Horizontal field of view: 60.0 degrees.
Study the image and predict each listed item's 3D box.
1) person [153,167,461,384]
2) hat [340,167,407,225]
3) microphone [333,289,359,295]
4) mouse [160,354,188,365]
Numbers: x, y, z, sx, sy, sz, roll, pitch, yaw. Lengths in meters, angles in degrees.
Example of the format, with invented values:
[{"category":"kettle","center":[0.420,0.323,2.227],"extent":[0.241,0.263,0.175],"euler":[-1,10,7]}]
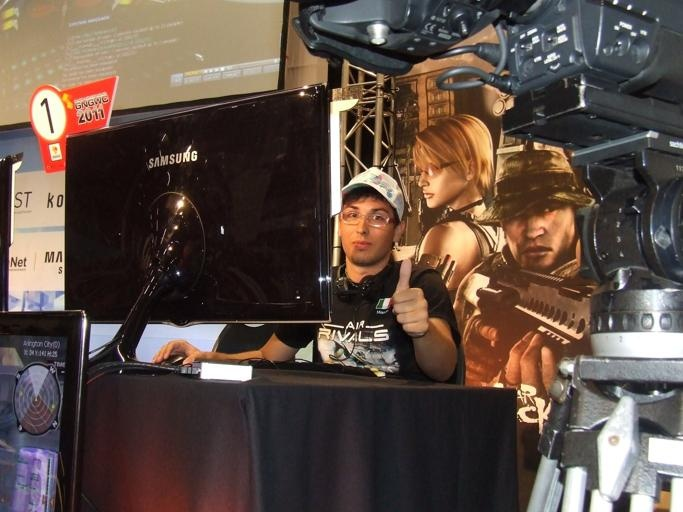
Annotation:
[{"category":"person","center":[-0.007,0.034,2.102],"extent":[0.912,0.610,0.679],"euler":[9,-14,-35]},{"category":"hat","center":[0.176,-0.271,2.433],"extent":[0.262,0.223,0.367],"euler":[12,3,20]},{"category":"microphone","center":[0.019,0.140,2.239],"extent":[0.012,0.027,0.126],"euler":[5,-3,-37]},{"category":"mouse","center":[-0.364,0.226,1.284],"extent":[0.040,0.017,0.056],"euler":[-7,-4,43]}]
